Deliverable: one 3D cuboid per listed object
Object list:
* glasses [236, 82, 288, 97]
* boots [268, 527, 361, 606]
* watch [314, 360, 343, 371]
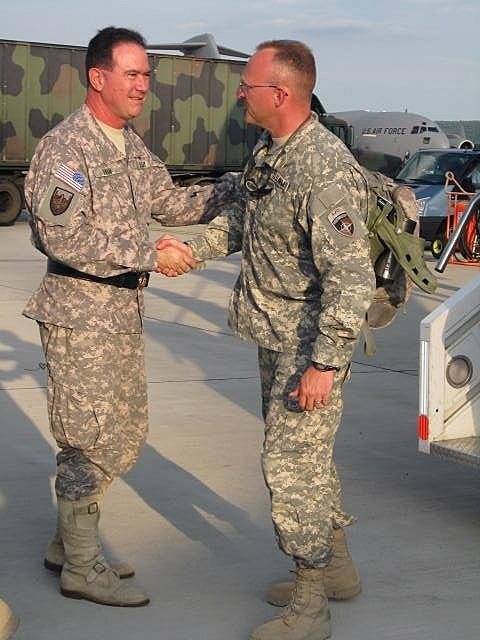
[{"bbox_3d":[0.069,-0.710,2.127,0.107,0.024,0.074,0,5,-4],"label":"glasses"},{"bbox_3d":[0.276,0.917,2.560,0.362,0.249,0.124,-19,-28,21],"label":"boots"},{"bbox_3d":[0.256,0.136,2.005,0.080,0.036,0.045,0,10,-14],"label":"watch"}]
